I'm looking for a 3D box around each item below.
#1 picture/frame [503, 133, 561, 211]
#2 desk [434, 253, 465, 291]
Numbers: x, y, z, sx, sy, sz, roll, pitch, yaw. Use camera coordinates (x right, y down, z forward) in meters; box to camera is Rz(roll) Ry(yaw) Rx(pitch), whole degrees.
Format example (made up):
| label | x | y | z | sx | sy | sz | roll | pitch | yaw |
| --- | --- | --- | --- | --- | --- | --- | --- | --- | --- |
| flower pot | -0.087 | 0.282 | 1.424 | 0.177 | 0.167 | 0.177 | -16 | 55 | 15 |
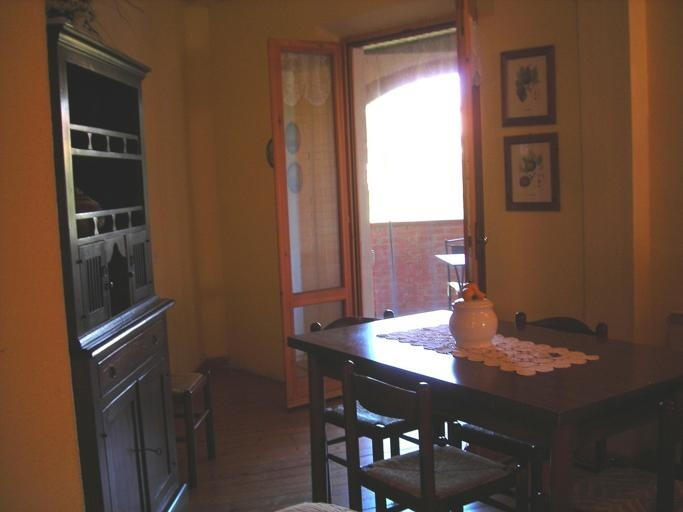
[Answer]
| label | x | y | z | sx | sy | sz | roll | pitch | yaw |
| --- | --- | --- | --- | --- | --- | --- | --- | --- | --- |
| picture/frame | 1.306 | -0.579 | 3.864 | 0.484 | 0.710 | 0.030 | 2 | 11 | 32 |
| desk | 1.178 | 0.179 | 6.286 | 0.215 | 0.213 | 0.415 | -1 | 8 | -5 |
